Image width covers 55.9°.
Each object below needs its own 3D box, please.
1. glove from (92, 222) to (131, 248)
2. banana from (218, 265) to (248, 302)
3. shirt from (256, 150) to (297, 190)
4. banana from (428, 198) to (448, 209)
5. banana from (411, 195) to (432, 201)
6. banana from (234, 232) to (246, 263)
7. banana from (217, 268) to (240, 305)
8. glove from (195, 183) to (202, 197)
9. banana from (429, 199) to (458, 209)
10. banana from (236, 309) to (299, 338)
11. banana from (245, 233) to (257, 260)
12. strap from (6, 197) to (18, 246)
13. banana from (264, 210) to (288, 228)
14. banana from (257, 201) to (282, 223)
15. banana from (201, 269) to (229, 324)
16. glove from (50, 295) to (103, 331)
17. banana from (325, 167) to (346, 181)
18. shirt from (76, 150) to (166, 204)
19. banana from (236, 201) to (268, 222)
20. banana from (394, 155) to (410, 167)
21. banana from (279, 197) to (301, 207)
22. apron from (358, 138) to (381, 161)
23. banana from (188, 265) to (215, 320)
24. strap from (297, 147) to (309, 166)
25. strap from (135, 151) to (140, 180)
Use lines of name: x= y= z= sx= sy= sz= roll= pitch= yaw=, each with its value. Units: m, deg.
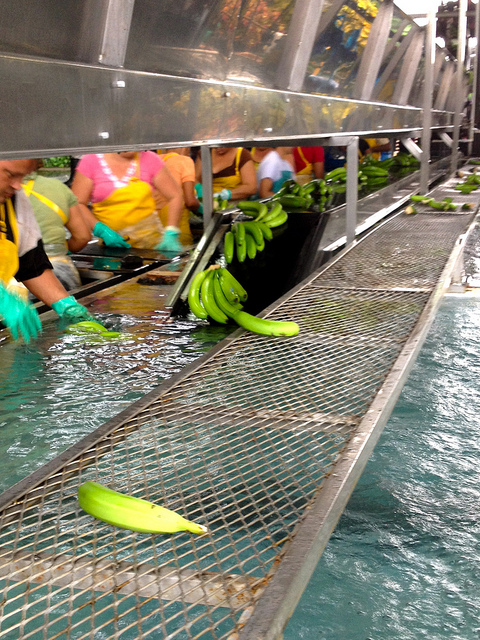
glove: x=-1.018 y=-0.655 z=3.551 sx=0.317 sy=0.203 sz=0.162 roll=-3 pitch=13 yaw=4
banana: x=-0.036 y=-0.151 z=1.918 sx=0.083 sy=0.062 sz=0.224 roll=7 pitch=36 yaw=-33
shirt: x=0.390 y=-1.578 z=4.865 sx=0.293 sy=0.332 sz=0.517 roll=2 pitch=9 yaw=23
banana: x=1.423 y=-0.803 z=3.200 sx=0.159 sy=0.048 sz=0.103 roll=-4 pitch=31 yaw=-5
banana: x=1.410 y=-0.948 z=3.553 sx=0.207 sy=0.055 sz=0.071 roll=-16 pitch=49 yaw=-45
banana: x=-0.005 y=-0.343 z=2.279 sx=0.033 sy=0.040 sz=0.116 roll=-18 pitch=60 yaw=13
banana: x=-0.030 y=-0.139 z=1.880 sx=0.047 sy=0.072 sz=0.207 roll=-32 pitch=41 yaw=-6
glove: x=-0.464 y=-1.408 z=5.002 sx=0.042 sy=0.133 sz=0.151 roll=-7 pitch=13 yaw=-9
banana: x=1.416 y=-0.793 z=3.164 sx=0.142 sy=0.053 sz=0.105 roll=2 pitch=20 yaw=11
banana: x=0.038 y=0.000 z=1.275 sx=0.238 sy=0.047 sz=0.074 roll=8 pitch=32 yaw=36
banana: x=0.037 y=-0.375 z=2.341 sx=0.046 sy=0.050 sz=0.146 roll=-18 pitch=61 yaw=-4
strap: x=-1.044 y=-0.446 z=2.081 sx=0.029 sy=0.206 sz=0.091 roll=-10 pitch=15 yaw=-19
banana: x=0.197 y=-0.555 z=2.532 sx=0.081 sy=0.036 sz=0.149 roll=28 pitch=38 yaw=18
banana: x=0.169 y=-0.610 z=2.607 sx=0.162 sy=0.051 sz=0.257 roll=-6 pitch=26 yaw=14
banana: x=-0.124 y=-0.090 z=1.957 sx=0.068 sy=0.098 sz=0.266 roll=18 pitch=41 yaw=-42
glove: x=-0.730 y=-0.039 z=2.003 sx=0.180 sy=0.105 sz=0.305 roll=-9 pitch=13 yaw=-22
banana: x=0.982 y=-1.488 z=4.693 sx=0.184 sy=0.126 sz=0.346 roll=-2 pitch=12 yaw=9
shirt: x=-0.995 y=-1.129 z=3.828 sx=0.720 sy=0.541 sz=0.335 roll=-7 pitch=36 yaw=-5
banana: x=0.068 y=-0.635 z=2.701 sx=0.129 sy=0.049 sz=0.225 roll=-30 pitch=27 yaw=-23
banana: x=2.272 y=-2.207 z=6.370 sx=0.086 sy=0.100 sz=0.212 roll=0 pitch=5 yaw=-6
banana: x=0.317 y=-0.745 z=2.910 sx=0.051 sy=0.066 sz=0.165 roll=-14 pitch=16 yaw=-34
apron: x=1.995 y=-2.607 z=6.981 sx=0.324 sy=0.345 sz=0.704 roll=-1 pitch=12 yaw=15
banana: x=-0.162 y=-0.117 z=1.986 sx=0.092 sy=0.065 sz=0.226 roll=17 pitch=54 yaw=-16
strap: x=0.842 y=-2.177 z=6.108 sx=0.062 sy=0.257 sz=0.142 roll=-22 pitch=13 yaw=25
strap: x=-0.847 y=-1.256 z=3.727 sx=0.031 sy=0.180 sz=0.049 roll=-5 pitch=-4 yaw=36
